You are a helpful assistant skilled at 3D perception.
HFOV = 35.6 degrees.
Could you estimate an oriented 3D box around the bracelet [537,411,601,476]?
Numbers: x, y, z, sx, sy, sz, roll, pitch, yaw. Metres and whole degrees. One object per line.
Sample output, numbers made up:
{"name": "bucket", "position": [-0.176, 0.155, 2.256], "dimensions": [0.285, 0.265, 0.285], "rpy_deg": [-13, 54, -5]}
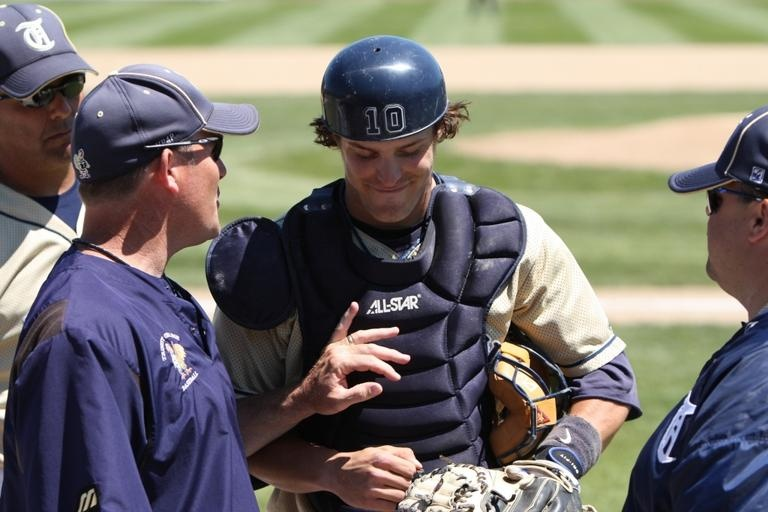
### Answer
{"name": "bracelet", "position": [1.198, 1.184, 7.542], "dimensions": [0.386, 0.312, 0.158], "rpy_deg": [-34, -14, -41]}

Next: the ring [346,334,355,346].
{"name": "ring", "position": [-0.209, 0.524, 7.549], "dimensions": [0.047, 0.053, 0.026], "rpy_deg": [-5, -10, 19]}
